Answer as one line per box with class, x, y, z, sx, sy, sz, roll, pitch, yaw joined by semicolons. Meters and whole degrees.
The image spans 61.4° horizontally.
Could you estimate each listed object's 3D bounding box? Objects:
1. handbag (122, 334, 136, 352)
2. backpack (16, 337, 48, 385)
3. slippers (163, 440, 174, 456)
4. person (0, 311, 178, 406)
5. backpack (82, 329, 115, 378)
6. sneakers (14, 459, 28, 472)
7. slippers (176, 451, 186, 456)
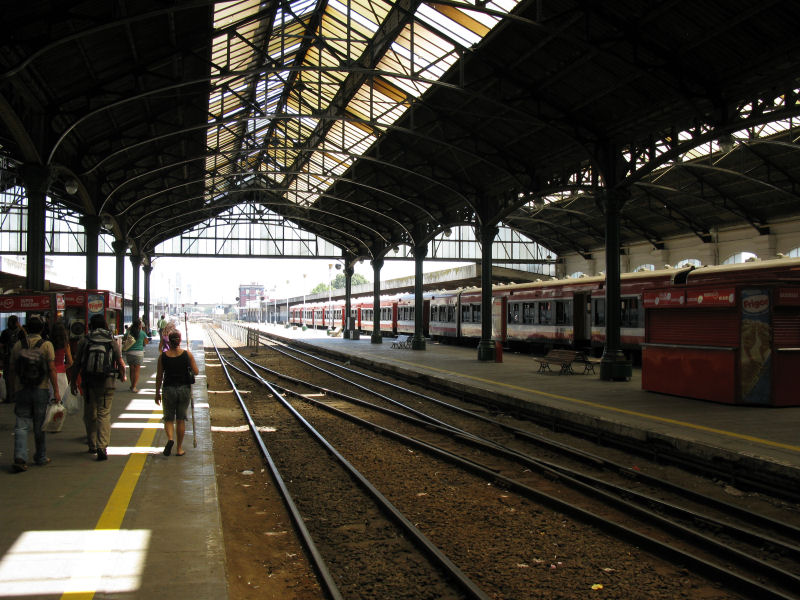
handbag;-6.942;1.108;17.364;0.151;0.360;0.295;4;-28;46
backpack;-5.511;0.950;10.128;0.447;0.741;0.338;-2;-1;-23
slippers;-3.840;2.417;11.184;0.163;0.268;0.435;-2;-2;-20
person;-5.394;0.977;10.543;1.545;1.197;1.582;-1;-4;6
backpack;-4.745;0.862;10.635;0.564;0.815;0.473;5;-25;-31
sneakers;-5.635;2.444;10.013;0.192;0.190;0.149;-2;-2;-23
slippers;-3.619;2.536;11.186;0.057;0.087;0.120;2;6;22
